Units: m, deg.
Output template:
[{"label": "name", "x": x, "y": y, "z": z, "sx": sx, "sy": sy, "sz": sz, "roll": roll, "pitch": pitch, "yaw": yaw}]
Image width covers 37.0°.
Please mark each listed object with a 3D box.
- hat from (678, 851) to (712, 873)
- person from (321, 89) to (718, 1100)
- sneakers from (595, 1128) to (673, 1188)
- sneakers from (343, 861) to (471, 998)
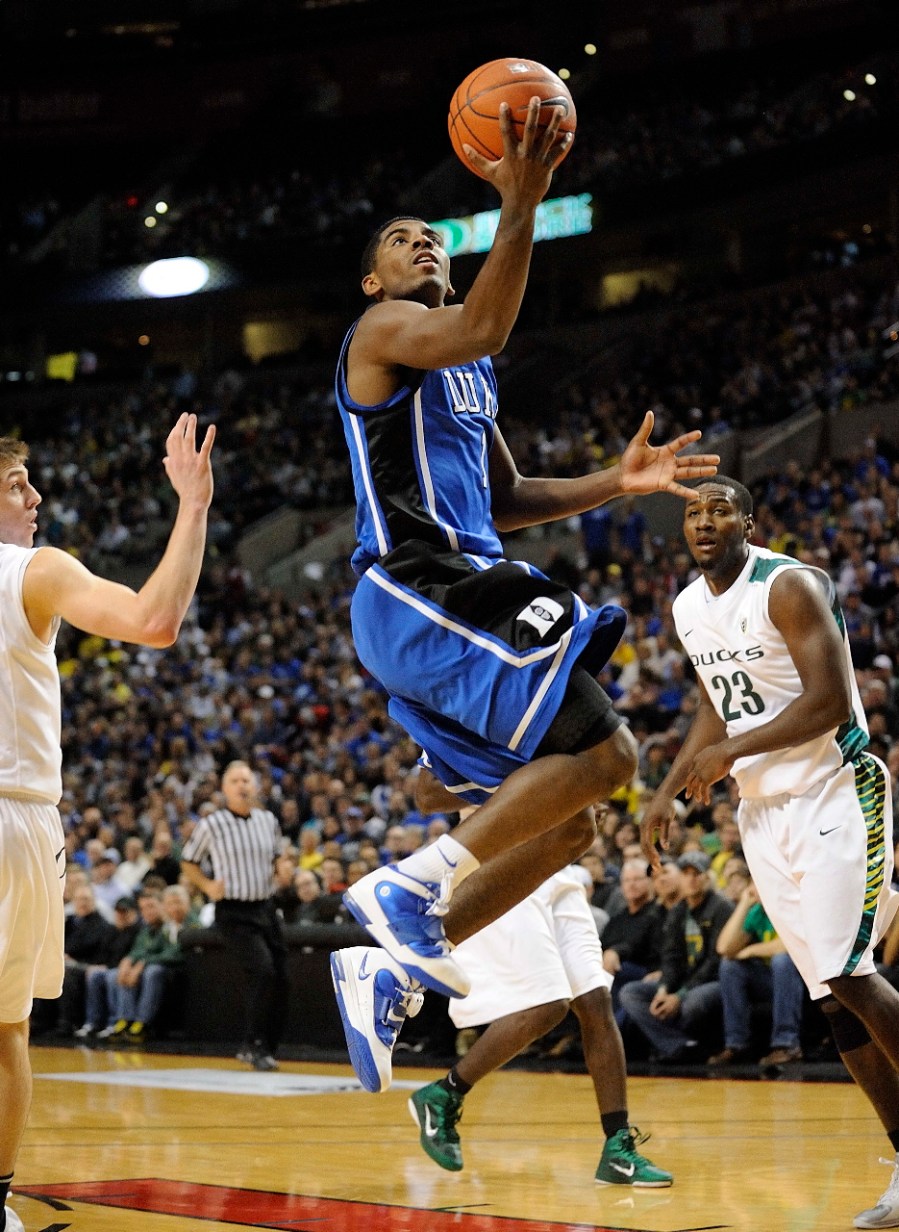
[{"label": "hat", "x": 1.375, "y": 1.410, "z": 7.660, "sx": 0.180, "sy": 0.085, "sz": 0.252, "roll": -2, "pitch": -12, "yaw": 10}, {"label": "person", "x": 0.134, "y": -0.051, "z": 2.946, "sx": 0.812, "sy": 1.987, "sz": 0.741, "roll": -7, "pitch": -4, "yaw": 15}, {"label": "sneakers", "x": 0.533, "y": 1.495, "z": 3.668, "sx": 0.273, "sy": 0.143, "sz": 0.087, "roll": 0, "pitch": -11, "yaw": 10}, {"label": "sneakers", "x": -0.095, "y": 0.636, "z": 2.672, "sx": 0.223, "sy": 0.277, "sz": 0.158, "roll": -6, "pitch": -4, "yaw": 2}]
